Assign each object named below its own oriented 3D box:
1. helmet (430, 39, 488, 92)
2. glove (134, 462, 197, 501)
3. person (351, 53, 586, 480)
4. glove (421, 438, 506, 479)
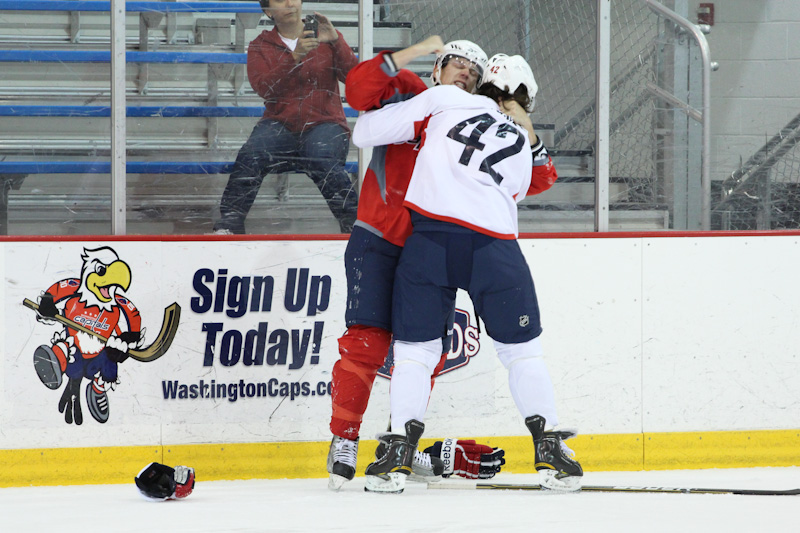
[{"bbox_3d":[0.283,-1.042,7.675,0.230,0.246,0.272,9,-23,-6],"label":"helmet"},{"bbox_3d":[-1.204,1.096,7.485,0.261,0.102,0.187,7,14,30],"label":"glove"},{"bbox_3d":[0.331,0.035,7.594,1.109,2.195,0.808,-2,14,-2],"label":"person"},{"bbox_3d":[0.359,1.044,7.988,0.384,0.205,0.124,7,0,-5],"label":"glove"}]
